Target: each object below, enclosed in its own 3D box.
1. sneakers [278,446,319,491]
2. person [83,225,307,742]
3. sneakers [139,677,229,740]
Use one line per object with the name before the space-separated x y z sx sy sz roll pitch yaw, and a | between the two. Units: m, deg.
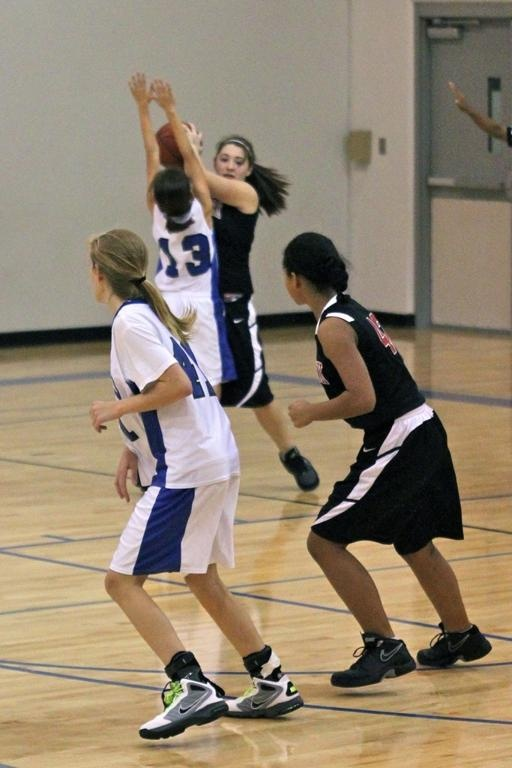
sneakers | 0.228 0.436 4.244 0.133 0.279 0.112 -38 0 2
person | -0.177 0.173 1.604 0.340 0.995 0.347 -4 -3 35
sneakers | -0.125 0.564 1.464 0.146 0.095 0.136 -2 -3 1
